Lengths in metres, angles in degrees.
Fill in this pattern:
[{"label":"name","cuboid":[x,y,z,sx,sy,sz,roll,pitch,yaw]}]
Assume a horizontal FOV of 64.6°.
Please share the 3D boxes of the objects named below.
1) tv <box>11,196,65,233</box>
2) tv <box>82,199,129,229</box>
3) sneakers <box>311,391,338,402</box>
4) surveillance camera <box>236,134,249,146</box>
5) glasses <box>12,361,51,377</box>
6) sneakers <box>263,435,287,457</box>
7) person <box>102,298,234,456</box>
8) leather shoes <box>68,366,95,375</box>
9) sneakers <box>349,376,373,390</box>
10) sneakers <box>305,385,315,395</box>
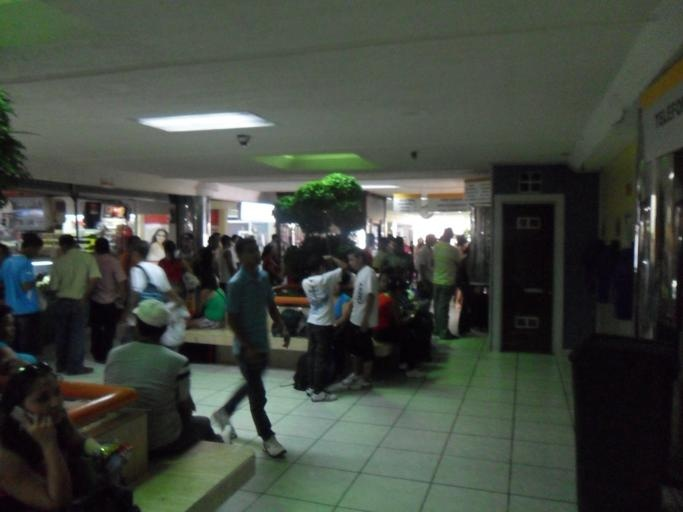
[{"label":"tv","cuboid":[-5.043,-0.704,8.965,0.460,0.392,0.682,2,5,15]},{"label":"tv","cuboid":[-4.425,-0.772,10.131,0.100,0.521,1.093,2,3,21]},{"label":"sneakers","cuboid":[-0.181,1.416,5.554,0.282,0.099,0.229,0,3,-16]},{"label":"surveillance camera","cuboid":[-1.175,-1.383,6.426,0.113,0.083,0.114,-2,-3,39]},{"label":"glasses","cuboid":[-1.231,0.447,2.147,0.079,0.030,0.082,5,1,25]},{"label":"sneakers","cuboid":[-0.519,1.477,4.181,0.090,0.099,0.233,-6,-9,-29]},{"label":"person","cuboid":[-1.177,0.844,3.506,0.506,1.012,0.779,0,-1,10]},{"label":"leather shoes","cuboid":[-3.107,1.368,6.435,0.259,0.109,0.083,-5,3,-23]},{"label":"sneakers","cuboid":[0.214,1.402,5.931,0.256,0.109,0.109,6,-10,-29]},{"label":"sneakers","cuboid":[-0.335,1.419,5.688,0.053,0.068,0.149,1,2,8]}]
